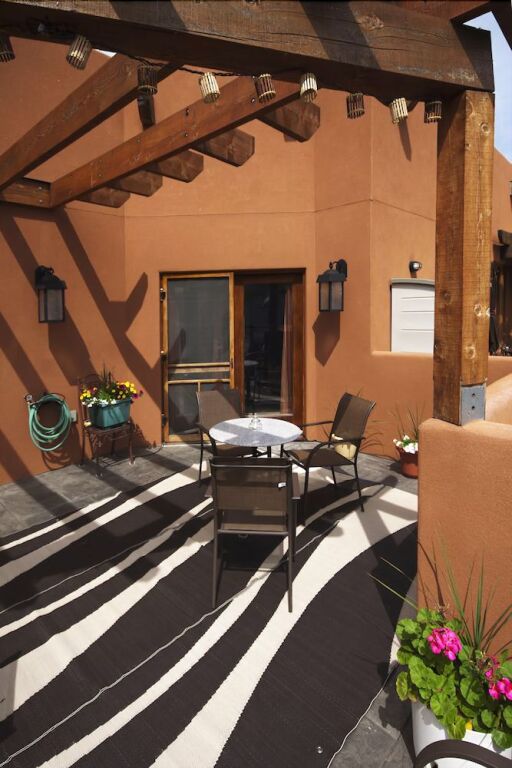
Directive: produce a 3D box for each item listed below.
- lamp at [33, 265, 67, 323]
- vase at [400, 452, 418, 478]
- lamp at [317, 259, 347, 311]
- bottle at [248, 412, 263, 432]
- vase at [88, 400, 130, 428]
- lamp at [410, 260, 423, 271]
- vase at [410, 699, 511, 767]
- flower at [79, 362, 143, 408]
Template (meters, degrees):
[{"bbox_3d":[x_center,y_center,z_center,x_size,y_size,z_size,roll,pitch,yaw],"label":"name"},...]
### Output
[{"bbox_3d":[-1.791,-0.771,5.288,0.247,0.501,0.320,-4,9,-21],"label":"lamp"},{"bbox_3d":[1.278,0.689,5.134,0.084,0.235,0.212,-5,10,-27],"label":"vase"},{"bbox_3d":[0.755,-0.984,5.998,0.261,0.562,0.253,0,1,-24],"label":"lamp"},{"bbox_3d":[-0.002,0.294,4.325,0.085,0.152,0.093,0,-1,0],"label":"bottle"},{"bbox_3d":[-1.343,0.271,5.629,0.215,0.211,0.303,3,5,39],"label":"vase"},{"bbox_3d":[1.725,-1.269,6.562,0.139,0.112,0.041,-7,6,-40],"label":"lamp"},{"bbox_3d":[0.636,1.161,1.956,0.180,0.180,0.237,6,0,0],"label":"vase"},{"bbox_3d":[-1.432,0.018,5.813,0.331,0.298,0.447,-3,7,-25],"label":"flower"}]
